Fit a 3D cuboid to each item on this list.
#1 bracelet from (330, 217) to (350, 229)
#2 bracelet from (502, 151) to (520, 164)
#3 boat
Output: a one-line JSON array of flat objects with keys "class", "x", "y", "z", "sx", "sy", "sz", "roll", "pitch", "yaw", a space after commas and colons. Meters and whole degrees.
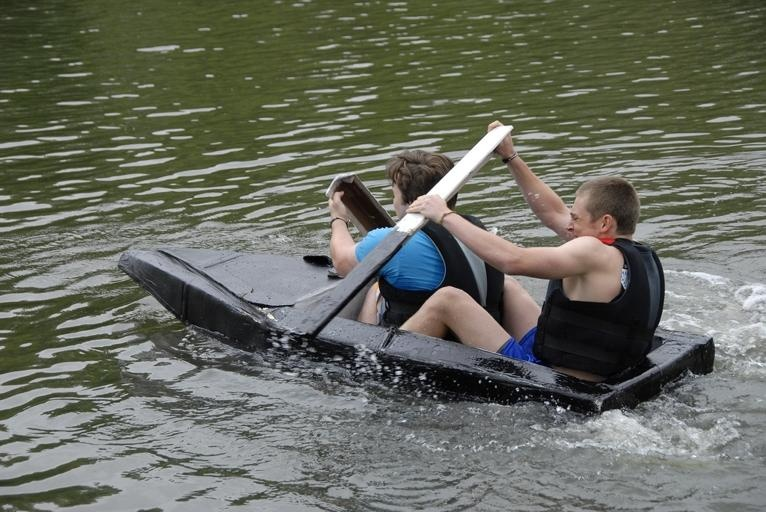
[{"class": "bracelet", "x": -0.396, "y": -0.280, "z": 7.899, "sx": 0.145, "sy": 0.085, "sz": 0.033, "roll": -6, "pitch": -24, "yaw": -25}, {"class": "bracelet", "x": 1.018, "y": -0.793, "z": 7.691, "sx": 0.144, "sy": 0.039, "sz": 0.112, "roll": -14, "pitch": 12, "yaw": 32}, {"class": "boat", "x": -0.279, "y": 0.431, "z": 7.852, "sx": 4.238, "sy": 0.314, "sz": 1.022, "roll": 16, "pitch": 36, "yaw": 12}]
